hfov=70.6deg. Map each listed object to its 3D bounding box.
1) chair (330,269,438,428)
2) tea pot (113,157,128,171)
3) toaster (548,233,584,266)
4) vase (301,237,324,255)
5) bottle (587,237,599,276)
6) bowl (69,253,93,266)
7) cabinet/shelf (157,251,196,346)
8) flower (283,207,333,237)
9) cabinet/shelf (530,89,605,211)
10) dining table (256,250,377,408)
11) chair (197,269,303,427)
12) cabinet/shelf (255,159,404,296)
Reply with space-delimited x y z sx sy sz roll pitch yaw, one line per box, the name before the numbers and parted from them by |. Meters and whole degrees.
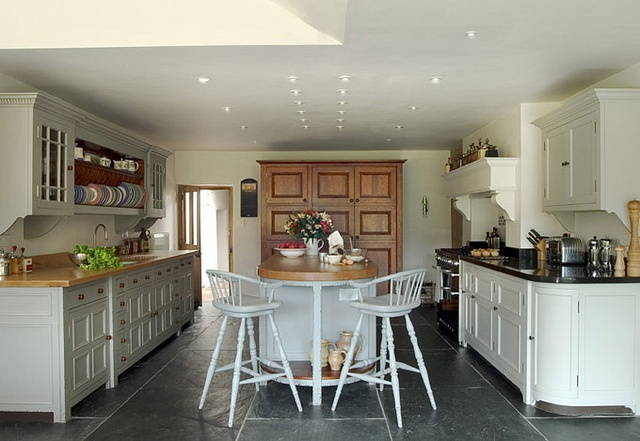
chair | 0.597 1.162 4.386 0.982 1.284 0.983 1 -3 -15
tea pot | -2.569 -0.731 5.816 0.143 0.128 0.177 0 -1 6
toaster | 2.720 0.318 4.901 0.228 0.273 0.405 -1 2 14
vase | -0.099 0.329 5.737 0.294 0.231 0.175 1 -4 -4
bottle | 2.684 0.331 4.405 0.109 0.287 0.411 4 8 31
bowl | -2.506 0.393 4.696 0.160 0.101 0.155 0 -2 0
cabinet/shelf | -1.958 1.055 6.072 0.472 1.070 1.177 -1 0 -5
flower | -0.110 0.062 5.572 0.444 0.290 0.395 0 0 40
cabinet/shelf | 2.618 -0.741 4.720 0.384 1.197 1.383 0 -2 5
dining table | -0.039 0.884 4.835 0.852 0.918 1.684 0 2 0
chair | -0.643 1.175 4.391 0.983 1.358 0.958 -2 -1 11
cabinet/shelf | 0.179 0.030 6.480 2.362 2.159 0.803 0 -2 -2
